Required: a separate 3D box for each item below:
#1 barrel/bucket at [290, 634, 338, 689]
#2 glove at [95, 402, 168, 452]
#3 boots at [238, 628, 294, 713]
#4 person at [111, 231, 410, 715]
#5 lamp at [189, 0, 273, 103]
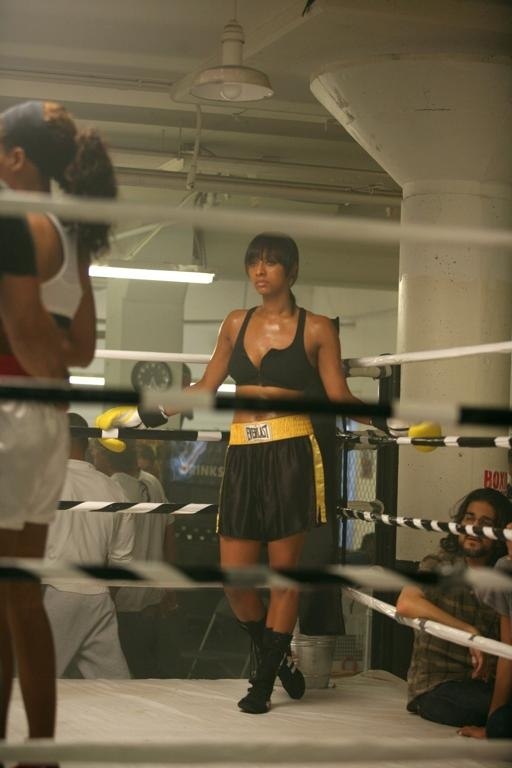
[{"bbox_3d":[0.181,0.839,2.774,0.158,0.148,0.147,0,-17,0],"label":"barrel/bucket"},{"bbox_3d":[-0.335,0.129,2.650,0.220,0.084,0.158,-5,7,-37],"label":"glove"},{"bbox_3d":[0.028,0.754,2.442,0.129,0.205,0.191,-2,-4,9],"label":"boots"},{"bbox_3d":[0.025,0.210,2.660,0.559,1.353,0.546,-2,-4,11],"label":"person"},{"bbox_3d":[-0.117,-1.464,4.045,0.317,0.391,0.384,1,-4,-23],"label":"lamp"}]
